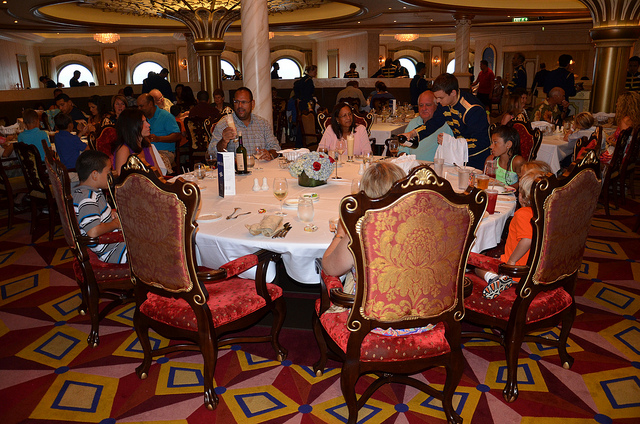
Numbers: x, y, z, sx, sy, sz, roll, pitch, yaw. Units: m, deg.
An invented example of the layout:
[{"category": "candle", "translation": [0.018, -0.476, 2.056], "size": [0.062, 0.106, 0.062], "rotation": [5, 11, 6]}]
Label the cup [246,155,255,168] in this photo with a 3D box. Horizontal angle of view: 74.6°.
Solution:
[{"category": "cup", "translation": [-0.701, -0.521, 4.281], "size": [0.105, 0.113, 0.109], "rotation": [1, 2, 0]}]

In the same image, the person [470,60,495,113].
[{"category": "person", "translation": [5.065, -3.773, 12.916], "size": [0.556, 1.772, 0.562], "rotation": [19, 43, 40]}]

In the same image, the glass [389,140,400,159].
[{"category": "glass", "translation": [0.748, -0.649, 4.230], "size": [0.083, 0.165, 0.065], "rotation": [-1, 18, 2]}]

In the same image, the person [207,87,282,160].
[{"category": "person", "translation": [-0.897, -0.966, 4.624], "size": [0.741, 0.760, 1.129], "rotation": [7, 20, 23]}]

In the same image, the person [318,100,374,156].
[{"category": "person", "translation": [0.300, -0.985, 5.007], "size": [0.607, 0.608, 1.245], "rotation": [-1, 18, 0]}]

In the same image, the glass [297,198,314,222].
[{"category": "glass", "translation": [-0.097, -0.017, 2.930], "size": [0.132, 0.196, 0.138], "rotation": [3, 4, 14]}]

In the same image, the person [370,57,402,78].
[{"category": "person", "translation": [2.349, -5.004, 14.569], "size": [0.912, 0.591, 0.488], "rotation": [13, 23, 37]}]

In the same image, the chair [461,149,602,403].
[{"category": "chair", "translation": [1.440, 0.373, 3.163], "size": [1.045, 1.691, 1.052], "rotation": [-4, 12, -11]}]

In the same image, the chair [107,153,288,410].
[{"category": "chair", "translation": [-0.841, 0.390, 3.092], "size": [0.920, 1.599, 1.063], "rotation": [6, 13, 23]}]

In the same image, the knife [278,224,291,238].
[{"category": "knife", "translation": [-0.230, 0.128, 2.849], "size": [0.025, 0.019, 0.177], "rotation": [-3, 26, 28]}]

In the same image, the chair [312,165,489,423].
[{"category": "chair", "translation": [0.478, 0.510, 2.614], "size": [0.925, 1.681, 0.475], "rotation": [-4, 18, -7]}]
